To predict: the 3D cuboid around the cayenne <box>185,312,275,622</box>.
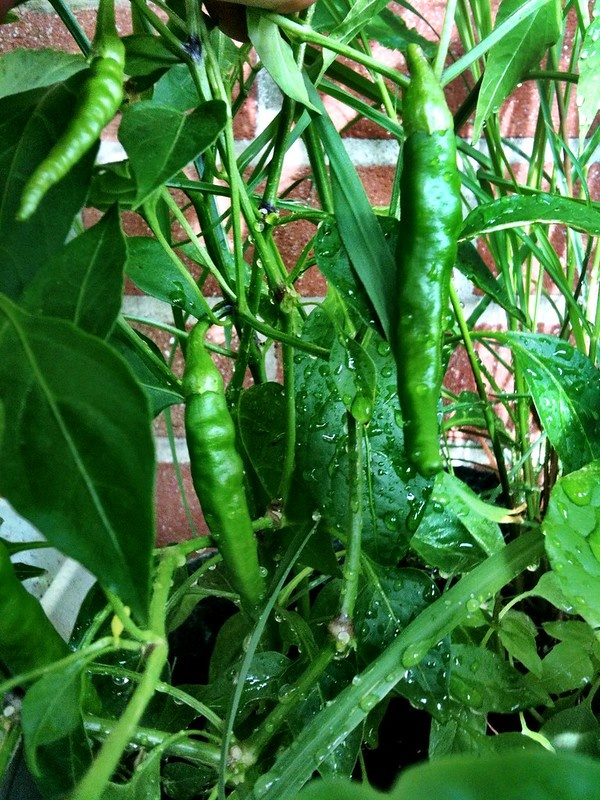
[{"bbox_3d":[-0.023,0.023,0.275,0.021,0.104,0.019,-19,14,-42],"label":"cayenne"}]
